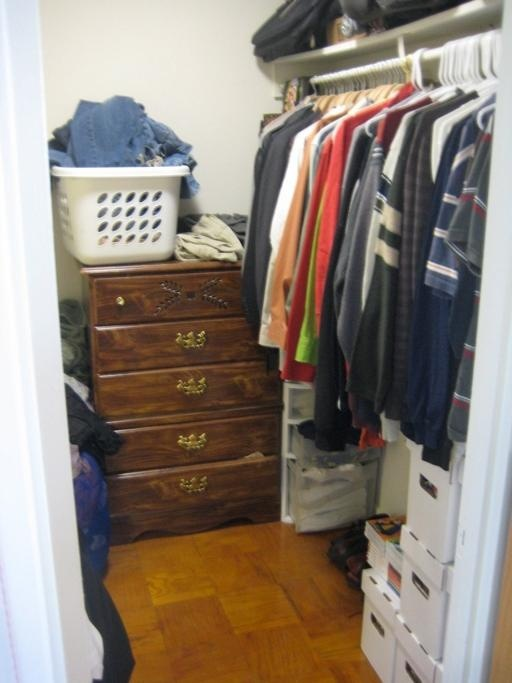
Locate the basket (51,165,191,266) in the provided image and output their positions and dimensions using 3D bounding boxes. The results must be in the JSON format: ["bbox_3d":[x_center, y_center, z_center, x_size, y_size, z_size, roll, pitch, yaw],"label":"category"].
[{"bbox_3d":[-0.418,-0.401,1.763,0.336,0.253,0.354,-4,17,-18],"label":"basket"}]

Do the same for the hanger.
[{"bbox_3d":[0.338,-0.702,1.535,0.142,0.252,0.878,-8,22,-23],"label":"hanger"}]
